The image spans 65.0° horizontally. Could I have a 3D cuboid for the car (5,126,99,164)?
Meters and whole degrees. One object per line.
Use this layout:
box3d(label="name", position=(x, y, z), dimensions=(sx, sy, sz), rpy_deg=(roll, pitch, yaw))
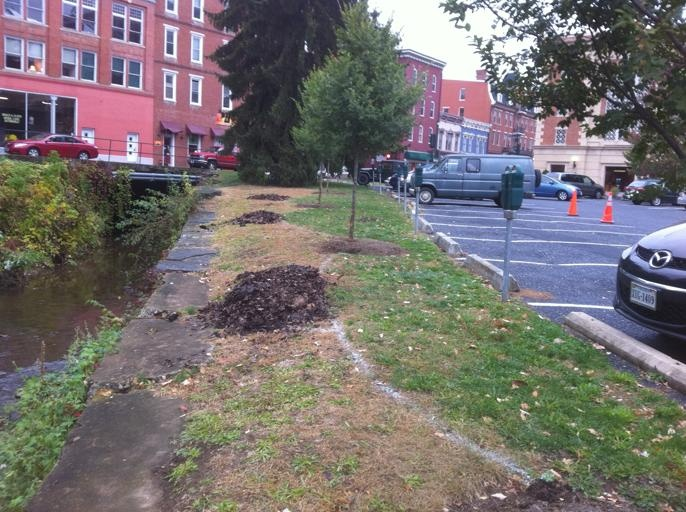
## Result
box3d(label="car", position=(-14.256, -5.313, 26.701), dimensions=(1.078, 1.252, 4.630), rpy_deg=(4, 15, 17))
